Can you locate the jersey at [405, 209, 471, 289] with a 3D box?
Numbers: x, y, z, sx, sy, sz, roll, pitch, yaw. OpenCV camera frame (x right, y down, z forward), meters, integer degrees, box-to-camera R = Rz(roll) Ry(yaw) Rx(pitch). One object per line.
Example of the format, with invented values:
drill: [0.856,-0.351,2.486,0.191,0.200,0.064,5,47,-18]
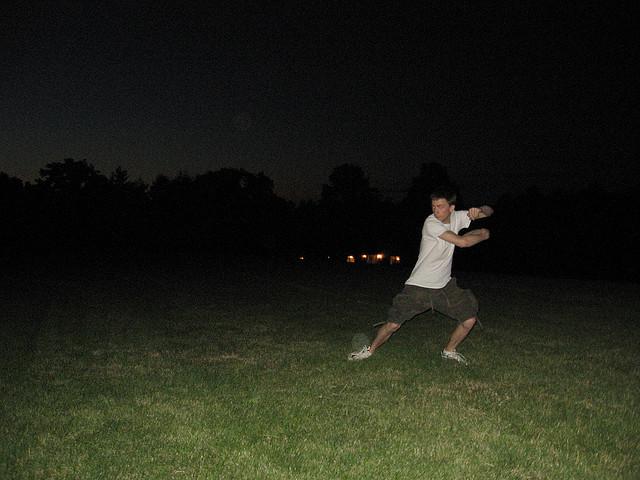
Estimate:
jersey: [1.468,0.061,5.819,0.743,1.153,0.532,3,27,14]

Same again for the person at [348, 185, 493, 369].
person: [1.393,0.483,5.771,1.295,2.348,0.623,4,3,7]

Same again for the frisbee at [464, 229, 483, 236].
frisbee: [1.903,-0.090,5.565,0.189,0.093,0.388,6,3,26]
